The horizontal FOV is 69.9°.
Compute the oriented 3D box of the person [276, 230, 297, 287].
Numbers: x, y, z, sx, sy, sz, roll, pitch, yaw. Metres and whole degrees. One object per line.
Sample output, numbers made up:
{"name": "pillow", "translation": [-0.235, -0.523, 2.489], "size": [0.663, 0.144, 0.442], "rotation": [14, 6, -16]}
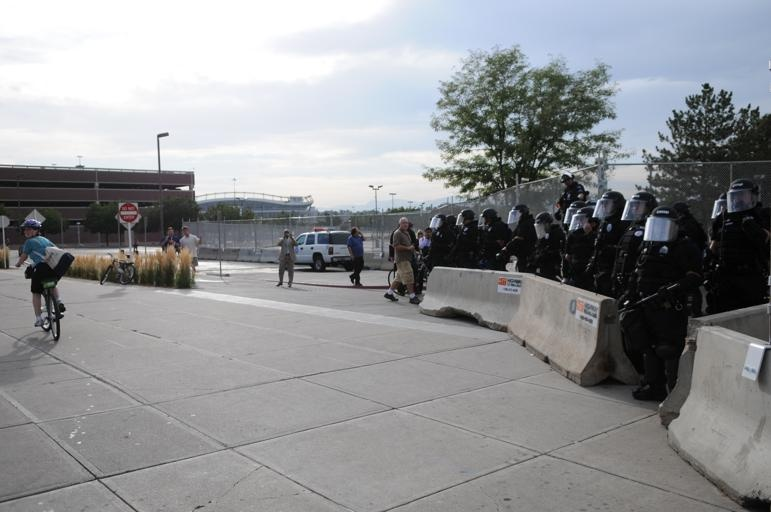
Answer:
{"name": "person", "translation": [-3.861, 0.111, 21.184], "size": [0.688, 2.167, 1.453], "rotation": [-2, 6, -10]}

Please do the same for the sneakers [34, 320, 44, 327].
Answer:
{"name": "sneakers", "translation": [-7.396, 1.436, 11.779], "size": [0.161, 0.188, 0.441], "rotation": [-1, 2, -31]}

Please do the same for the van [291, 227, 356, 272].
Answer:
{"name": "van", "translation": [-3.333, -0.306, 30.751], "size": [1.979, 1.625, 3.580], "rotation": [-3, 8, -41]}

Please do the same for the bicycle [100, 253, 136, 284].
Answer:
{"name": "bicycle", "translation": [-11.539, 0.544, 23.657], "size": [2.198, 1.278, 1.110], "rotation": [7, 1, 38]}
